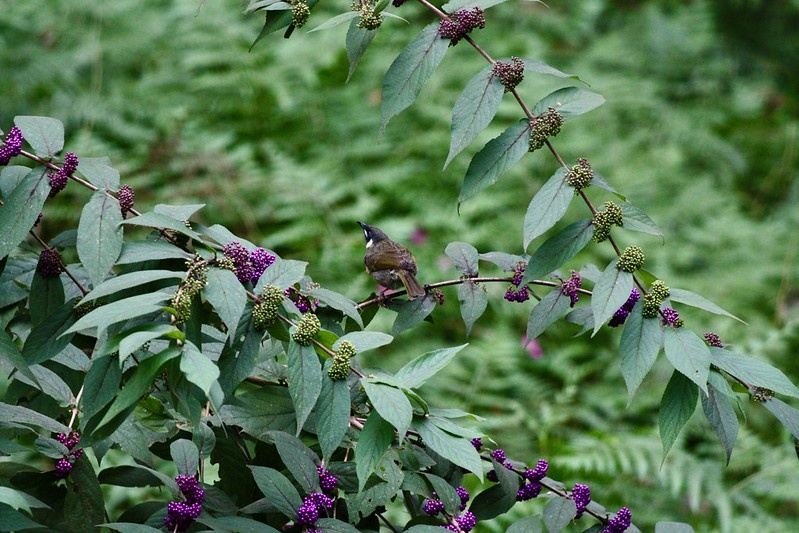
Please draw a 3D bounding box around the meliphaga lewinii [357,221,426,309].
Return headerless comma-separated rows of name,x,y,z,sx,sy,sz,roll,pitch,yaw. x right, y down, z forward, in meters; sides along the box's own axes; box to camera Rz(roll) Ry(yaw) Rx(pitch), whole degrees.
meliphaga lewinii,-0.051,-0.041,5.385,0.204,0.367,0.566,-4,9,-27
